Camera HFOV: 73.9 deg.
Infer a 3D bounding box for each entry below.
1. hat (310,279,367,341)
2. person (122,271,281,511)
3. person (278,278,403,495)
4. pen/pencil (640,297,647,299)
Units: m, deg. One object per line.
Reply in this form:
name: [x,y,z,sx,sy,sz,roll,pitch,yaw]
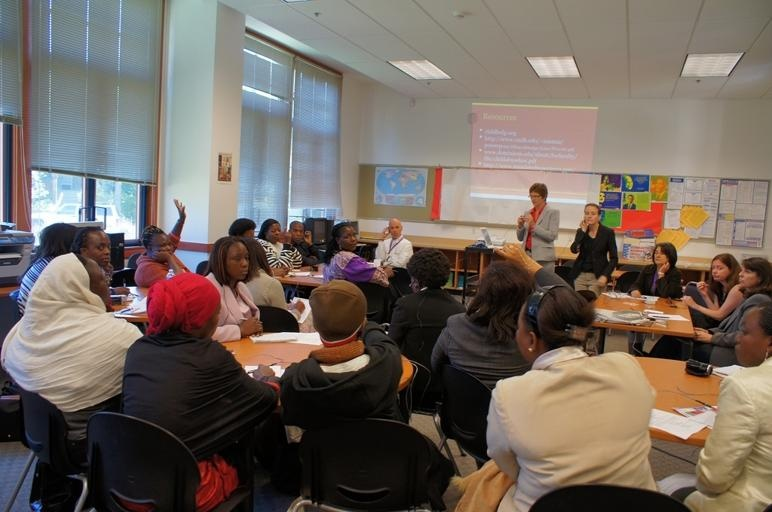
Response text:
hat: [-0.213,0.262,2.425,0.226,0.243,0.303,1,33,-1]
person: [-0.884,0.641,2.457,0.691,1.069,0.311,1,7,-16]
person: [-0.202,0.477,2.433,0.581,0.700,0.328,1,7,-17]
pen/pencil: [2.641,0.429,5.266,0.030,0.022,0.030,-4,6,-32]
